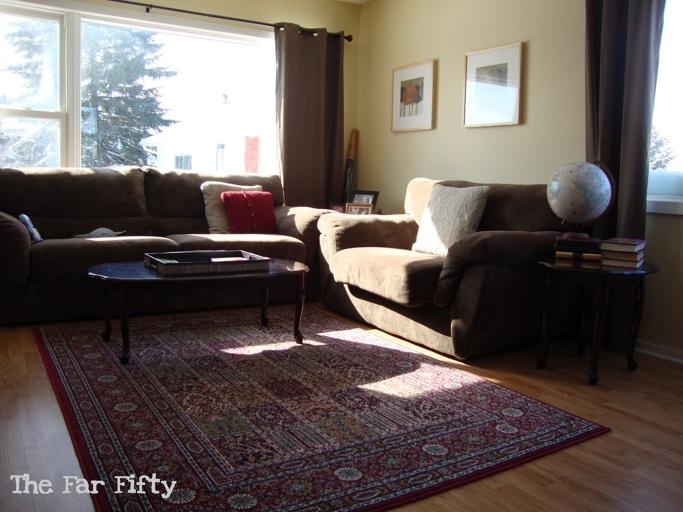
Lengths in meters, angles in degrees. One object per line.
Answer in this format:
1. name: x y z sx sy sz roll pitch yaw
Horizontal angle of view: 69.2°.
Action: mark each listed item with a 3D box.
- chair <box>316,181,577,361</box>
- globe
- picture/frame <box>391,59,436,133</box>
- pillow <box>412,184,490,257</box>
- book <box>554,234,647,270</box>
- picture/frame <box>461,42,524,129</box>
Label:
1. chair: 0.658 -0.019 3.547 1.172 1.018 1.610 -6 11 -31
2. globe: 1.421 -0.353 2.976 0.373 0.438 0.370 -24 26 -21
3. picture/frame: 0.692 -1.520 4.697 0.080 0.716 0.776 -2 6 -29
4. pillow: 0.799 -0.270 3.571 0.275 0.443 0.517 -7 9 -35
5. book: 1.380 -0.022 2.680 0.425 0.143 0.140 7 12 23
6. picture/frame: 1.214 -1.358 3.998 0.063 0.606 0.581 -5 13 -32
